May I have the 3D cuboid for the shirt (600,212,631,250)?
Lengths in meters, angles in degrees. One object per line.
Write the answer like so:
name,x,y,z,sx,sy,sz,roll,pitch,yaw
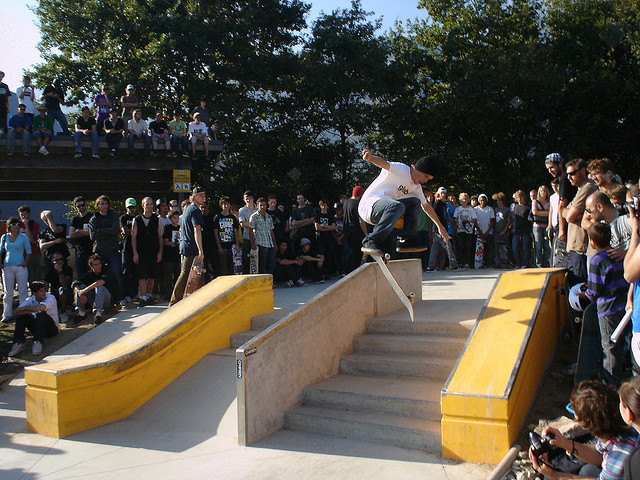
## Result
shirt,4.432,-0.129,10.004,0.221,0.455,0.410,13,-15,-30

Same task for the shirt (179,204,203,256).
shirt,-2.693,-0.224,13.625,0.345,1.051,0.719,4,-2,-38

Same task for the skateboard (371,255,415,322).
skateboard,1.255,0.875,11.722,0.156,1.204,0.200,-8,-27,-31

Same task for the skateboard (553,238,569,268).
skateboard,4.303,0.231,11.971,0.149,0.434,0.306,-2,3,16

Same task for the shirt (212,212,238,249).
shirt,-2.155,-0.247,15.456,0.704,0.936,0.152,1,31,1

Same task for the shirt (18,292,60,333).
shirt,-5.796,1.479,13.627,0.510,0.875,0.798,7,-2,5

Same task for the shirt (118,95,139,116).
shirt,-6.050,-4.264,21.056,0.437,0.681,1.284,1,2,-16

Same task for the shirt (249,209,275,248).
shirt,-1.334,-0.240,14.870,0.444,1.034,0.683,-8,-8,43

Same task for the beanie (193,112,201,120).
beanie,-3.822,-3.900,20.612,0.223,0.198,0.280,0,2,-34

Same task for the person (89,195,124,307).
person,-4.616,0.239,14.397,0.721,2.354,0.342,0,2,-23

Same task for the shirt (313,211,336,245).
shirt,0.080,-0.267,16.227,0.586,1.007,0.324,4,-20,-16

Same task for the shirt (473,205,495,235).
shirt,4.178,-0.507,17.067,0.579,0.863,0.312,1,-14,2

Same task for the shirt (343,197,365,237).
shirt,0.752,-0.572,15.818,0.426,0.812,0.611,0,-3,-43

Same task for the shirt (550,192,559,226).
shirt,4.452,-0.591,12.697,0.086,0.623,0.293,1,2,9

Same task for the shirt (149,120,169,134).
shirt,-5.044,-3.551,20.851,0.669,0.465,0.457,0,2,-39

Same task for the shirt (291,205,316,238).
shirt,-0.432,-0.508,16.360,0.578,0.800,0.419,-4,25,-7

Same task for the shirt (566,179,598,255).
shirt,4.372,-0.390,11.116,0.373,1.256,0.569,1,2,11

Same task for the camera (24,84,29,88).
camera,-8.868,-4.690,20.135,0.067,0.074,0.019,31,6,-1

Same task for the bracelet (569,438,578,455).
bracelet,3.273,2.673,8.588,0.033,0.155,0.106,-8,-4,-12

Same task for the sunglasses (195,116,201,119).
sunglasses,-3.794,-3.811,20.597,0.182,0.113,0.047,7,-2,17

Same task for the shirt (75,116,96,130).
shirt,-7.117,-3.560,20.210,0.402,0.243,0.542,2,11,-32

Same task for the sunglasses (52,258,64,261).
sunglasses,-5.805,0.427,14.798,0.080,0.061,0.222,2,2,31

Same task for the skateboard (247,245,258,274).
skateboard,-1.518,0.455,14.931,0.260,0.595,0.151,2,2,33

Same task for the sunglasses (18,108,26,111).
sunglasses,-8.727,-3.849,19.465,0.104,0.030,0.106,17,4,23

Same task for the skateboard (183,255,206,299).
skateboard,-2.462,0.774,13.387,0.264,1.014,0.352,18,8,-26

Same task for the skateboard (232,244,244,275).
skateboard,-1.920,0.438,15.441,0.193,0.675,0.408,0,2,-23

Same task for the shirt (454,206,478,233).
shirt,3.696,-0.522,16.970,0.542,0.773,0.254,-1,-5,3

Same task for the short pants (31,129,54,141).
short pants,-8.319,-3.169,19.996,0.594,0.292,0.425,1,2,-27

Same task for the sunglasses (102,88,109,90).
sunglasses,-6.505,-4.589,20.098,0.113,0.069,0.273,0,2,-28

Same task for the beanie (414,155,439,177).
beanie,1.814,-1.281,11.377,0.330,0.349,0.270,7,5,15

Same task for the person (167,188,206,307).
person,-2.718,0.115,13.686,0.594,2.421,0.643,0,14,-16

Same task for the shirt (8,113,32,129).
shirt,-8.957,-3.724,19.824,0.649,0.625,0.371,-2,13,-30

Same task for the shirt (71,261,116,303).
shirt,-4.863,0.928,14.324,0.579,0.940,0.868,2,8,7

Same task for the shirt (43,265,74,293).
shirt,-5.806,0.864,14.803,0.611,0.609,0.493,0,2,-25

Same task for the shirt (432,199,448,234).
shirt,2.964,-0.587,16.473,0.360,0.855,1.248,1,2,10

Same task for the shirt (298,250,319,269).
shirt,-0.335,0.396,16.289,0.334,0.569,0.605,7,-3,-25

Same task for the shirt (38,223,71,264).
shirt,-6.025,0.088,14.993,0.442,0.860,0.509,-15,-6,6

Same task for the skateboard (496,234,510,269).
skateboard,4.732,0.269,17.251,0.299,0.851,0.450,2,2,29

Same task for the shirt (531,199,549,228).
shirt,5.099,-0.609,15.448,0.376,0.624,0.478,2,2,13

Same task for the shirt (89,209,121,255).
shirt,-4.665,-0.136,14.454,0.580,1.028,0.533,-6,-10,-7

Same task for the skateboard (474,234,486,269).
skateboard,4.115,0.284,17.154,0.409,0.843,0.194,-1,3,-41

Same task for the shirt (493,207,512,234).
shirt,4.676,-0.504,17.119,0.459,0.688,0.279,2,2,21

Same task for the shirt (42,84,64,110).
shirt,-8.212,-4.383,20.519,0.693,0.787,0.475,-1,3,-44

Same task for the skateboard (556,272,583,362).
skateboard,4.086,1.259,10.846,0.347,1.516,0.188,0,-3,-36

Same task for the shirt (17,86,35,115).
shirt,-8.923,-4.260,20.135,0.422,0.829,0.575,0,2,-26

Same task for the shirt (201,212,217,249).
shirt,-2.542,-0.197,15.116,0.208,0.784,0.476,2,2,33

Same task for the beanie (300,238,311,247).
beanie,-0.375,0.059,16.060,0.225,0.216,0.207,1,2,-7

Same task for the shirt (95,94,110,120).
shirt,-6.667,-4.099,20.381,0.455,0.763,0.472,0,2,-32

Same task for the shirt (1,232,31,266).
shirt,-6.736,0.205,14.691,0.570,0.742,0.329,2,-12,-26
